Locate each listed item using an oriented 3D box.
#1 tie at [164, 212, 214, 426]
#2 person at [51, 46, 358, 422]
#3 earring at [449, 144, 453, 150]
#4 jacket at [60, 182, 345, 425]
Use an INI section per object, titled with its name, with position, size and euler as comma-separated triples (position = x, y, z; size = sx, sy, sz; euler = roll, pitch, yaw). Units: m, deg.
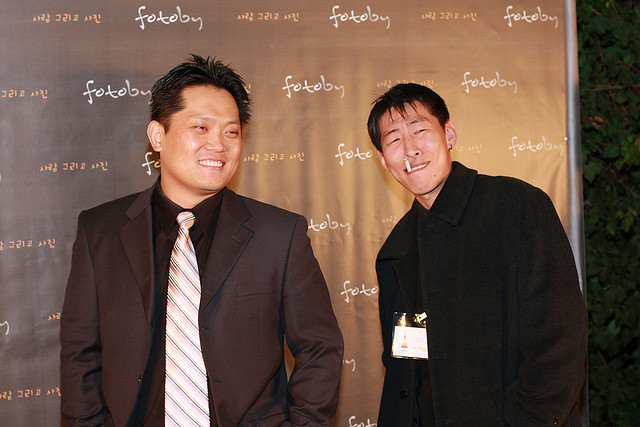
[tie]
position = -0.688, 0.515, 3.178
size = 0.208, 1.045, 0.161
euler = -2, -2, -14
[person]
position = -0.643, 0.113, 3.291
size = 1.431, 1.887, 0.385
euler = -3, -2, 10
[earring]
position = 0.738, -0.378, 3.567
size = 0.007, 0.031, 0.031
euler = 5, -6, -15
[jacket]
position = -0.638, 0.358, 3.649
size = 1.915, 1.664, 0.986
euler = 0, -3, -2
